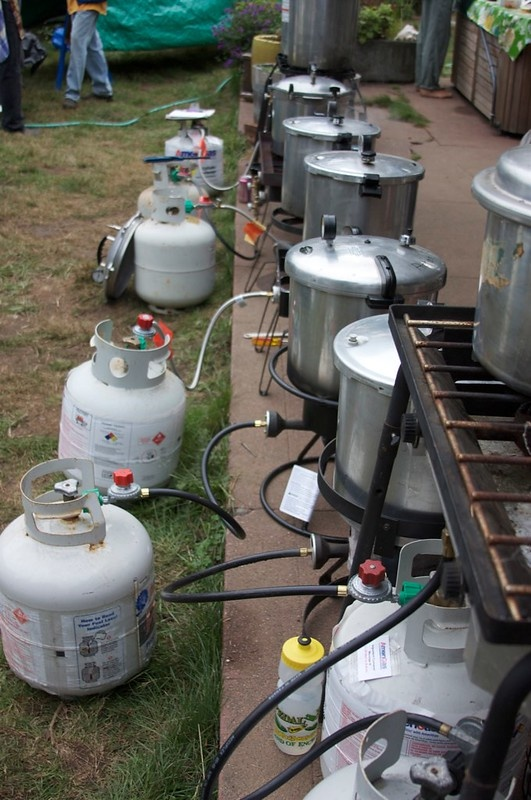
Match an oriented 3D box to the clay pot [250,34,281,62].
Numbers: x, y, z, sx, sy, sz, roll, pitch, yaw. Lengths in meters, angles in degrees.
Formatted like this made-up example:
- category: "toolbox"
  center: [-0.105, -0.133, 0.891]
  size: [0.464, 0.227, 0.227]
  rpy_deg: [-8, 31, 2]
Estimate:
- category: "clay pot"
  center: [0.003, -3.703, 8.008]
  size: [0.291, 0.274, 0.701]
  rpy_deg: [1, 25, -1]
